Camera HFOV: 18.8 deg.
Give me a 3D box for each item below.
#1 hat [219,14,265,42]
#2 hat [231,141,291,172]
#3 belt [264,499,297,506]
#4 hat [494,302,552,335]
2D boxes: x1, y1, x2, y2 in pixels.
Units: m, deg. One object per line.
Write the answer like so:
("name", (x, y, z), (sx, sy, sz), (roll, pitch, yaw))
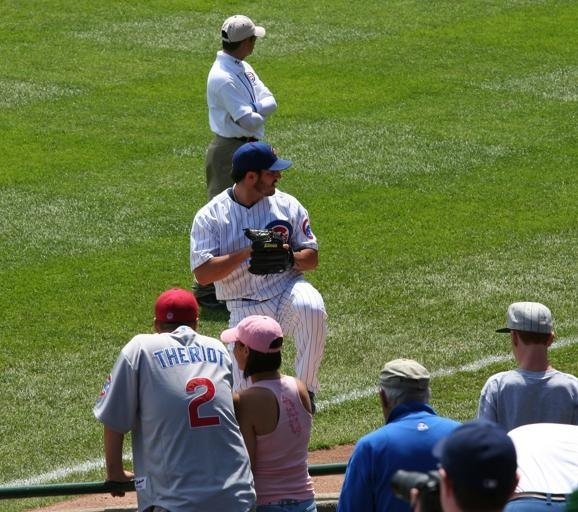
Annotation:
("hat", (-0.484, -2.590, 19.993), (0.516, 0.267, 0.367), (-13, 32, -28))
("hat", (-0.312, -1.040, 17.781), (0.454, 0.209, 0.317), (-2, 16, -5))
("belt", (-0.058, 2.284, 16.222), (0.244, 0.066, 0.019), (-3, 9, -1))
("hat", (2.270, 0.557, 16.706), (0.624, 0.357, 0.452), (-2, 3, 24))
